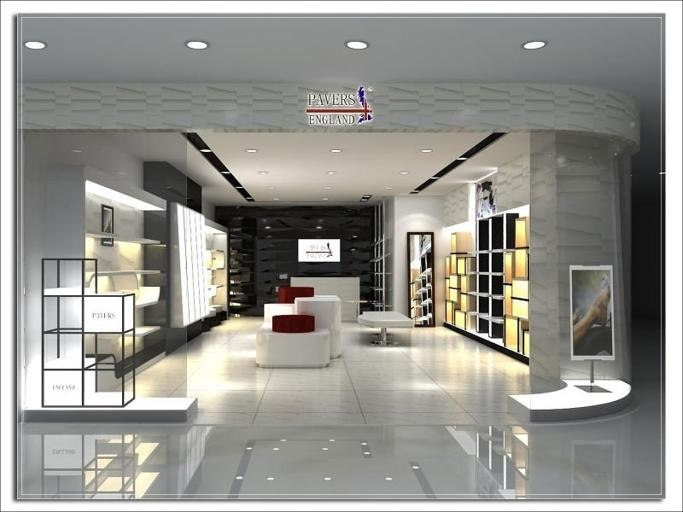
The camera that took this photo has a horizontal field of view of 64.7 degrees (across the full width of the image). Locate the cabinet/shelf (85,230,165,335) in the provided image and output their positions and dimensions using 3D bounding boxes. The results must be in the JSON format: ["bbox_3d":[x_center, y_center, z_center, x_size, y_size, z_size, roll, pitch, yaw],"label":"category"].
[{"bbox_3d":[-2.509,0.323,6.346,0.861,1.240,0.312,0,4,-16],"label":"cabinet/shelf"}]

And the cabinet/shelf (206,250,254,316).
[{"bbox_3d":[-3.061,0.710,14.594,0.639,1.748,1.958,-2,-5,29],"label":"cabinet/shelf"}]
